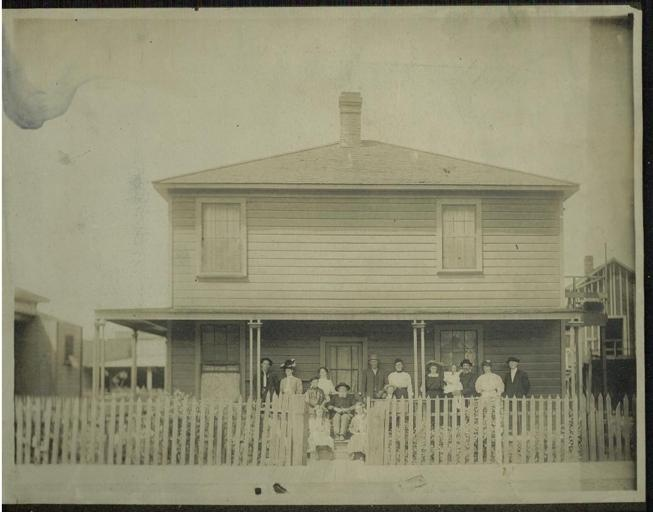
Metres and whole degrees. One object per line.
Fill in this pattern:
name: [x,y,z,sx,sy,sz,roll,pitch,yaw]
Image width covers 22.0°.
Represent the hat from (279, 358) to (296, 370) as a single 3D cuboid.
hat: [-0.551,1.617,25.030,0.143,0.208,0.063,0,-1,14]
